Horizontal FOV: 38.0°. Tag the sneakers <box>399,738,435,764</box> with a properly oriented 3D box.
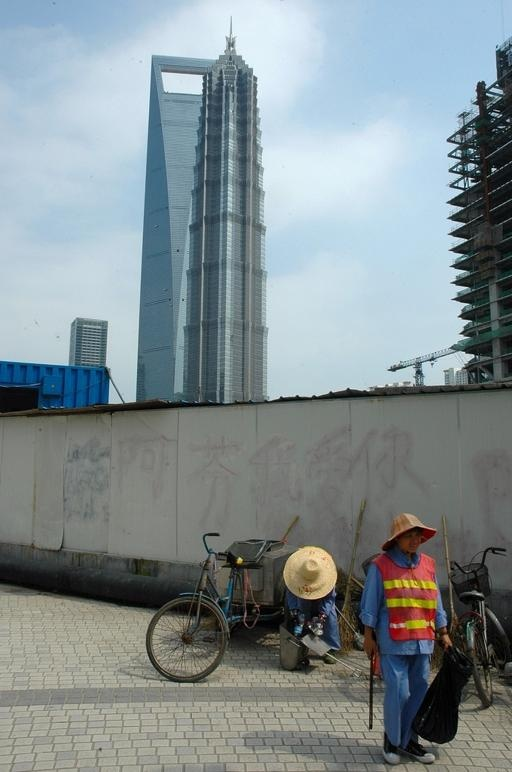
[{"bbox_3d":[1.055,2.406,4.891,0.086,0.092,0.236,8,-12,-39],"label":"sneakers"}]

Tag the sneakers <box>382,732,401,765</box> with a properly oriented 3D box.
[{"bbox_3d":[0.886,2.356,4.825,0.111,0.149,0.151,0,-5,9],"label":"sneakers"}]

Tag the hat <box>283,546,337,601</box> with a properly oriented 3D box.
[{"bbox_3d":[0.486,1.674,6.642,0.456,0.407,0.273,1,-5,1],"label":"hat"}]

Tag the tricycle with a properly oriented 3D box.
[{"bbox_3d":[-0.289,1.937,6.728,0.728,1.165,1.578,-1,-5,24],"label":"tricycle"}]
